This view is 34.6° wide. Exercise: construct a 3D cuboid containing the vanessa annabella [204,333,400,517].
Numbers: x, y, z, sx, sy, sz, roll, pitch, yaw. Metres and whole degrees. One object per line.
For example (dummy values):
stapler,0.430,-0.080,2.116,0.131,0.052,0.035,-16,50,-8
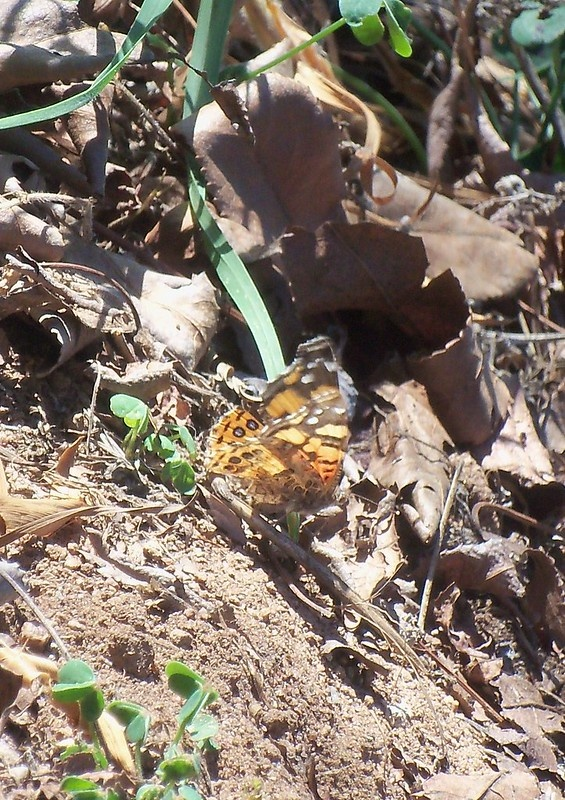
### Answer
vanessa annabella,0.016,0.056,1.895,0.405,0.353,0.282,-12,67,-54
